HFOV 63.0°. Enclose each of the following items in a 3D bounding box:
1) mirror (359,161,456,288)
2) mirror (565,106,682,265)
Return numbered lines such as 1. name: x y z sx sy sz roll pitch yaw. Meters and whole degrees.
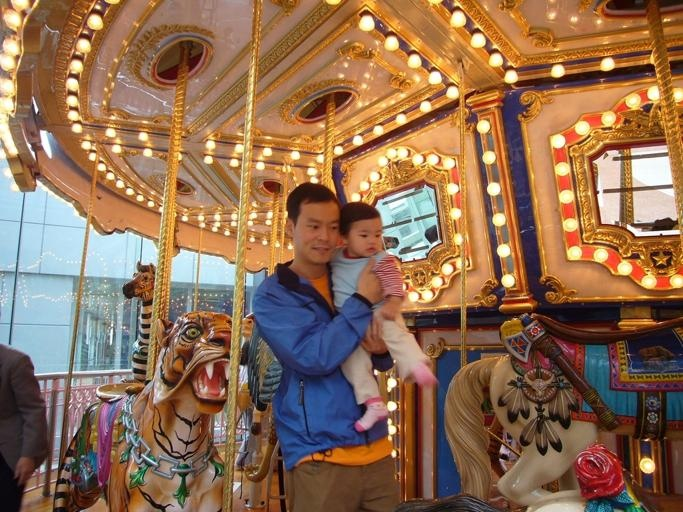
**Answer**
1. mirror: 0.604 -0.266 4.573 0.048 0.976 0.874 -13 -17 -37
2. mirror: 2.152 -0.461 4.234 0.863 1.081 0.258 -10 -5 25
